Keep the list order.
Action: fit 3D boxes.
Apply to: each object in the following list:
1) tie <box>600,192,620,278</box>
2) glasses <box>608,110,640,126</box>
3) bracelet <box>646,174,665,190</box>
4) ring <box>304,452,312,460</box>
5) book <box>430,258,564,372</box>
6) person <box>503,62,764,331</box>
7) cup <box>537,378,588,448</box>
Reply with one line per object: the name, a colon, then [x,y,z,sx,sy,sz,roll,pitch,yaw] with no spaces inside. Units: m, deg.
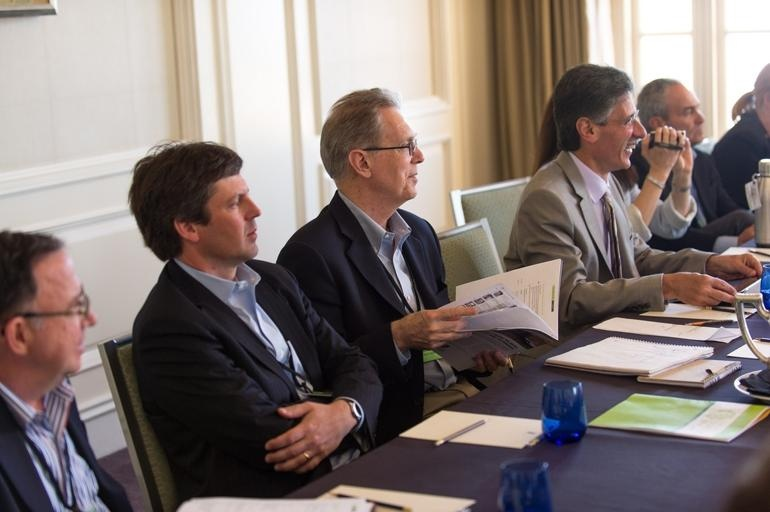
tie: [1.005,-0.084,2.553,0.055,0.403,0.045,4,-12,-31]
glasses: [1.037,-0.583,2.481,0.081,0.024,0.083,-27,-3,40]
bracelet: [1.435,-0.383,3.056,0.078,0.022,0.077,29,-5,23]
ring: [-0.213,0.552,1.592,0.022,0.019,0.009,8,39,46]
book: [0.373,0.181,1.853,0.342,0.138,0.337,-7,-29,-17]
person: [1.017,-0.253,2.728,1.101,1.256,0.972,-5,3,27]
cup: [0.407,0.363,1.382,0.124,0.141,0.126,-5,3,0]
